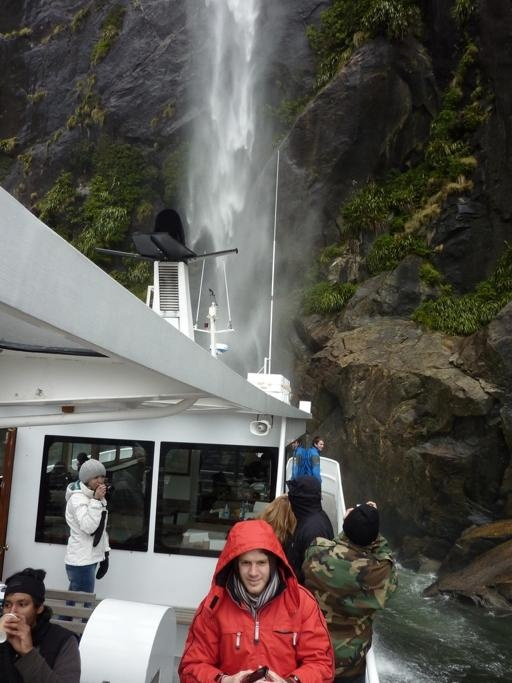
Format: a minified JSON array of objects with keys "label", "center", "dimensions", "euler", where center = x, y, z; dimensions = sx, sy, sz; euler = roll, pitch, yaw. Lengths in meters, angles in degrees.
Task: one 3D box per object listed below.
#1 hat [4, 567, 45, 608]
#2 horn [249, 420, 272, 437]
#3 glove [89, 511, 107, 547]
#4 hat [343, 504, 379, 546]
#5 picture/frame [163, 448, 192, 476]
[{"label":"hat","center":[-0.894,0.968,1.960],"dimensions":[0.121,0.132,0.163],"euler":[-1,-25,1]},{"label":"horn","center":[0.040,0.837,4.882],"dimensions":[0.207,0.193,0.153],"euler":[0,5,22]},{"label":"glove","center":[-1.249,1.491,3.954],"dimensions":[0.076,0.221,0.162],"euler":[13,-20,-15]},{"label":"hat","center":[0.569,0.948,2.588],"dimensions":[0.213,0.169,0.150],"euler":[-1,0,6]},{"label":"picture/frame","center":[-0.808,1.207,4.955],"dimensions":[0.276,0.269,0.038],"euler":[-1,0,2]}]
